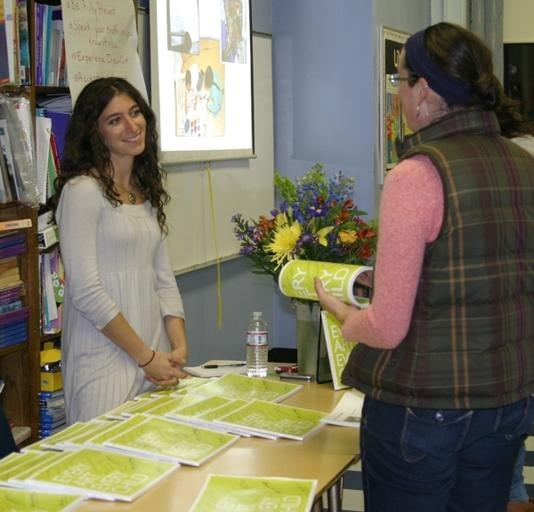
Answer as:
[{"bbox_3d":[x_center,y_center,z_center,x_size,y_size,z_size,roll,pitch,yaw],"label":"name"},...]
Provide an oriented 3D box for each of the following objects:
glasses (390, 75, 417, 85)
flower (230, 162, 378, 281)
[{"bbox_3d":[0.287,-0.374,1.009,0.048,0.018,0.051,6,9,10],"label":"glasses"},{"bbox_3d":[0.147,-0.102,1.924,0.429,0.541,0.488,-12,-5,3],"label":"flower"}]
